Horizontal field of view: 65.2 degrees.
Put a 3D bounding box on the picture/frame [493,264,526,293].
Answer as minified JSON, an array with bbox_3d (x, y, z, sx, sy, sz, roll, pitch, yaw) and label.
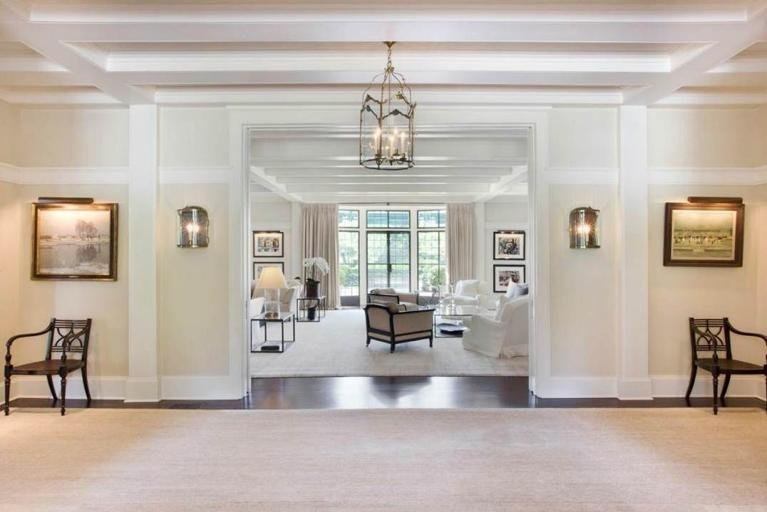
[{"bbox_3d":[3.090,0.545,14.596,0.707,0.617,0.049,0,-4,2],"label":"picture/frame"}]

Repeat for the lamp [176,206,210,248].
[{"bbox_3d":[-2.567,-0.409,8.132,0.438,0.577,0.328,1,13,-13],"label":"lamp"}]

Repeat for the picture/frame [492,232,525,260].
[{"bbox_3d":[3.194,-0.243,15.072,0.679,0.658,0.051,1,-4,2],"label":"picture/frame"}]

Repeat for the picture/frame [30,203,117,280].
[{"bbox_3d":[-4.154,-0.175,8.040,1.015,1.026,0.077,0,-3,-3],"label":"picture/frame"}]

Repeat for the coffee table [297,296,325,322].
[{"bbox_3d":[-1.700,1.236,13.525,0.480,0.444,0.905,0,1,3],"label":"coffee table"}]

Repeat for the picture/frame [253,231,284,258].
[{"bbox_3d":[-2.893,-0.286,14.875,0.633,0.545,0.066,0,-4,-6],"label":"picture/frame"}]

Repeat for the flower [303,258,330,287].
[{"bbox_3d":[-1.640,0.396,14.708,0.670,0.789,0.705,-5,-6,41],"label":"flower"}]

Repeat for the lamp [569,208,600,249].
[{"bbox_3d":[2.684,-0.361,7.994,0.520,0.596,0.339,0,-3,-1],"label":"lamp"}]

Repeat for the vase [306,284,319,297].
[{"bbox_3d":[-1.535,0.768,13.052,0.242,0.272,0.269,1,-5,-1],"label":"vase"}]

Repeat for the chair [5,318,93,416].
[{"bbox_3d":[-4.341,1.415,7.784,1.011,1.133,0.898,0,3,-15],"label":"chair"}]

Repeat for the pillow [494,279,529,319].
[{"bbox_3d":[2.537,0.733,11.939,0.260,0.773,0.894,15,8,17],"label":"pillow"}]

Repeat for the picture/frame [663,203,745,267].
[{"bbox_3d":[4.317,-0.276,8.090,0.845,0.744,0.068,1,-2,-1],"label":"picture/frame"}]

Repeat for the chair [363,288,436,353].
[{"bbox_3d":[0.297,1.107,10.564,1.022,0.915,0.900,-1,3,-35],"label":"chair"}]

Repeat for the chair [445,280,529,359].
[{"bbox_3d":[2.033,1.068,10.352,0.990,1.253,1.331,-2,6,-19],"label":"chair"}]
